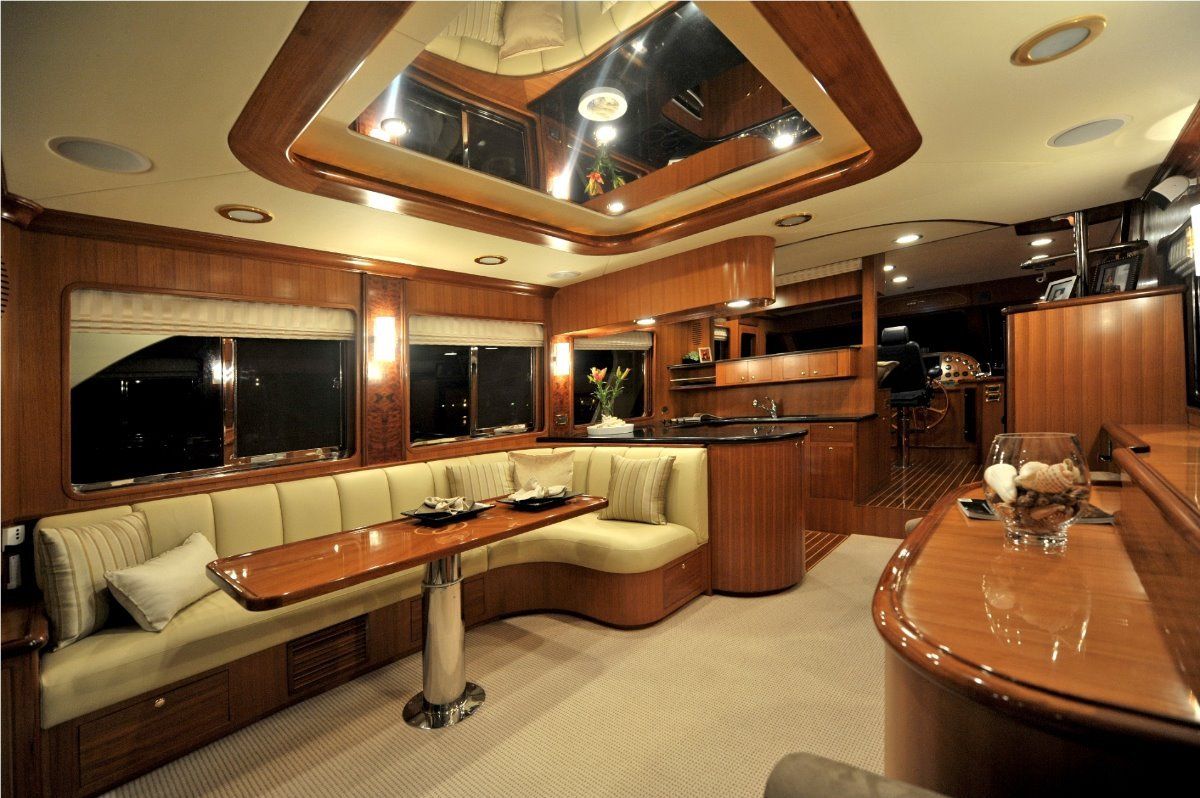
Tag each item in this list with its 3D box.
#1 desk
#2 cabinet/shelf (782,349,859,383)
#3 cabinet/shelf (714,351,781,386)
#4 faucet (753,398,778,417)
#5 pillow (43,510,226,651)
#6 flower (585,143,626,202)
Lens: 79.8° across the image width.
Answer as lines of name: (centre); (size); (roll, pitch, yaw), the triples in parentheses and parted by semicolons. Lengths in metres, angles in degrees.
desk: (-1.168, 1.341, 4.368); (1.989, 0.914, 0.814); (-4, 2, -40)
cabinet/shelf: (2.366, -0.366, 7.692); (0.721, 0.323, 0.175); (-2, 2, 43)
cabinet/shelf: (1.674, -0.324, 8.287); (0.201, 0.318, 0.872); (-5, 2, -44)
faucet: (1.888, 0.084, 8.171); (0.167, 0.203, 0.540); (-2, -8, 8)
pillow: (-2.867, 1.031, 4.360); (0.789, 0.584, 0.833); (16, 5, 7)
flower: (0.038, -1.845, 6.032); (0.359, 0.469, 0.256); (-7, -2, 18)
